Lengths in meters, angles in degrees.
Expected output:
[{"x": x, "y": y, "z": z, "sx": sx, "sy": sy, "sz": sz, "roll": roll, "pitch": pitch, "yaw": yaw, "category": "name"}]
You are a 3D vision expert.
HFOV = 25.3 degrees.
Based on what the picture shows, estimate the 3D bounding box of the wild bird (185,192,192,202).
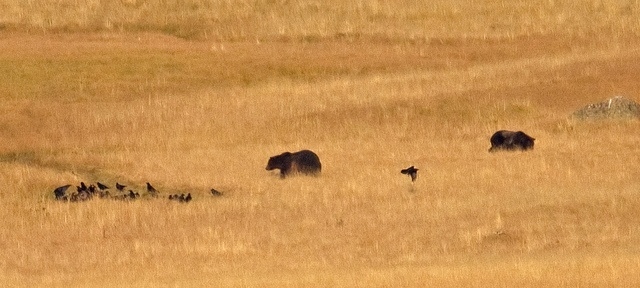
[{"x": -9.750, "y": 3.839, "z": 104.305, "sx": 0.496, "sy": 0.607, "sz": 0.533, "roll": -5, "pitch": -4, "yaw": -1, "category": "wild bird"}]

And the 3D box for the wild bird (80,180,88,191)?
[{"x": -17.492, "y": 3.057, "z": 104.875, "sx": 0.446, "sy": 0.686, "sz": 0.748, "roll": -5, "pitch": -4, "yaw": -7, "category": "wild bird"}]

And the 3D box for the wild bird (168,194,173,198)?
[{"x": -11.081, "y": 3.773, "z": 104.358, "sx": 0.336, "sy": 0.293, "sz": 0.421, "roll": -4, "pitch": -4, "yaw": -6, "category": "wild bird"}]

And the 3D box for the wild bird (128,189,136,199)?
[{"x": -13.883, "y": 3.612, "z": 104.437, "sx": 0.471, "sy": 0.636, "sz": 0.418, "roll": -4, "pitch": -4, "yaw": -7, "category": "wild bird"}]

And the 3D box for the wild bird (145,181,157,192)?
[{"x": -12.542, "y": 3.082, "z": 104.825, "sx": 0.640, "sy": 0.738, "sz": 0.691, "roll": -3, "pitch": -5, "yaw": -22, "category": "wild bird"}]

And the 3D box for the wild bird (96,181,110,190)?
[{"x": -16.147, "y": 3.011, "z": 105.051, "sx": 0.746, "sy": 0.600, "sz": 0.450, "roll": -3, "pitch": -5, "yaw": -20, "category": "wild bird"}]

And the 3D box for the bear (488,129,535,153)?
[{"x": 14.498, "y": -0.125, "z": 108.508, "sx": 3.967, "sy": 1.660, "sz": 1.195, "roll": 5, "pitch": 2, "yaw": -14, "category": "bear"}]
